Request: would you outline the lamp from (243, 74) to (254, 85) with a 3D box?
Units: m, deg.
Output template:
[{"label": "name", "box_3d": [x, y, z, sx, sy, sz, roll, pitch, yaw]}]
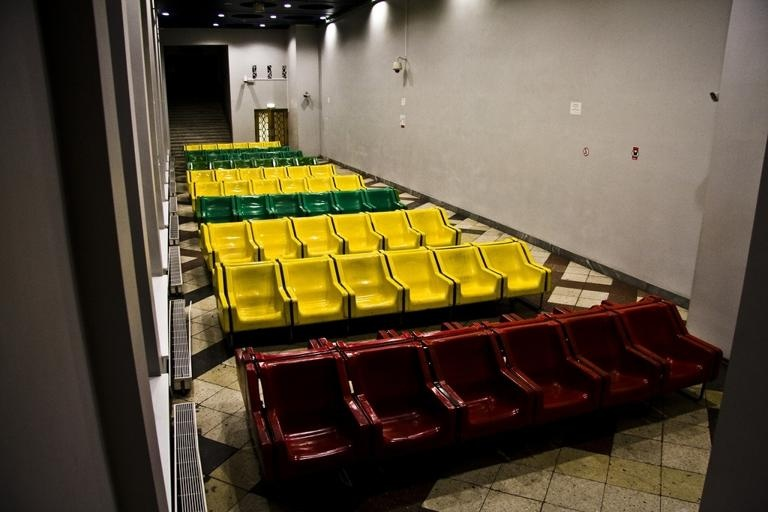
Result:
[{"label": "lamp", "box_3d": [-6.214, -8.165, 23.037, 0.388, 0.235, 0.367, -5, 16, -23]}]

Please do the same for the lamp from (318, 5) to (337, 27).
[{"label": "lamp", "box_3d": [-2.107, -9.147, 18.953, 0.743, 0.328, 1.018, -8, 10, -23]}]

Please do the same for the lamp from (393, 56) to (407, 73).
[{"label": "lamp", "box_3d": [0.399, -5.369, 13.950, 0.303, 0.439, 0.508, -9, 19, -16]}]
